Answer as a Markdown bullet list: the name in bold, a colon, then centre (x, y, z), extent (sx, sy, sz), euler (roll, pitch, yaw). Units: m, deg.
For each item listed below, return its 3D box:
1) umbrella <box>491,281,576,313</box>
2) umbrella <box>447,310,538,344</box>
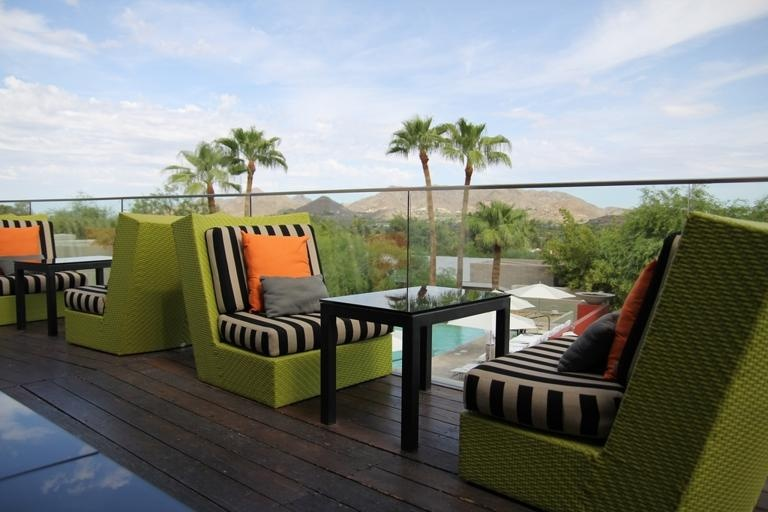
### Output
- **umbrella**: centre (1.114, 0.280, 3.155), extent (0.314, 0.113, 0.309), euler (-1, 2, -31)
- **umbrella**: centre (0.763, 0.482, 3.006), extent (0.502, 0.131, 0.433), euler (-1, -2, 16)
